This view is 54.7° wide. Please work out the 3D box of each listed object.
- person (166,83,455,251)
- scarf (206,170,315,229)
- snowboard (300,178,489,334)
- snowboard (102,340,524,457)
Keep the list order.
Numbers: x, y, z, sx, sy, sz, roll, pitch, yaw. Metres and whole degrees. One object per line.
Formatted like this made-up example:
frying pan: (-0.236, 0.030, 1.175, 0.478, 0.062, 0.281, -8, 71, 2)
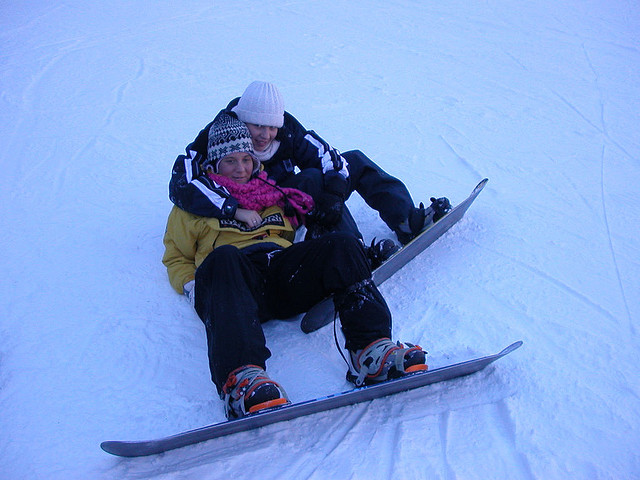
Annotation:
person: (-0.008, -0.582, 4.732, 2.069, 1.135, 1.065, 5, 26, 7)
scarf: (-0.399, -0.235, 4.313, 0.371, 0.217, 0.574, 40, 13, 36)
snowboard: (0.514, 0.145, 4.370, 1.578, 0.188, 0.170, -38, 52, -18)
snowboard: (-0.033, 0.972, 3.669, 1.727, 0.181, 0.101, -15, 81, -7)
